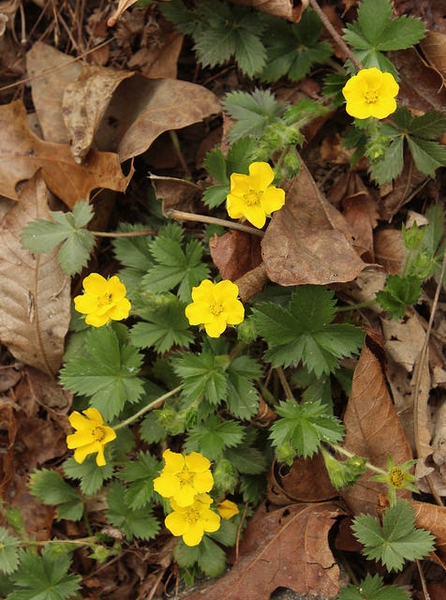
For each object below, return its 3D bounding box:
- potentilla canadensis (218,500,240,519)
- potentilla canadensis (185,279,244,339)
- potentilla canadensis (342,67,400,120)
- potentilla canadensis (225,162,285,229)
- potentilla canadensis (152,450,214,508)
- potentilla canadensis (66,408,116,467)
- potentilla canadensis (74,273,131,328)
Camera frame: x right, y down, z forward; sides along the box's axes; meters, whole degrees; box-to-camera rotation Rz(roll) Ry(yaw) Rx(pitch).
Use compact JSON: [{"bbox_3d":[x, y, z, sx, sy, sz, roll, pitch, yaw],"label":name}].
[{"bbox_3d":[0.024,1.096,3.007,0.118,0.041,0.099,7,93,-28],"label":"potentilla canadensis"},{"bbox_3d":[-0.026,0.098,2.903,0.280,0.512,0.253,6,65,6],"label":"potentilla canadensis"},{"bbox_3d":[0.707,-0.987,2.724,0.258,0.126,0.234,18,64,11],"label":"potentilla canadensis"},{"bbox_3d":[0.163,-0.520,2.764,0.262,0.148,0.296,26,66,15],"label":"potentilla canadensis"},{"bbox_3d":[-0.167,0.809,2.693,0.277,0.270,0.086,10,94,-10],"label":"potentilla canadensis"},{"bbox_3d":[-0.651,0.668,2.827,0.217,0.167,0.268,0,62,2],"label":"potentilla canadensis"},{"bbox_3d":[-0.599,-0.030,2.914,0.277,0.288,0.106,13,32,-36],"label":"potentilla canadensis"}]
